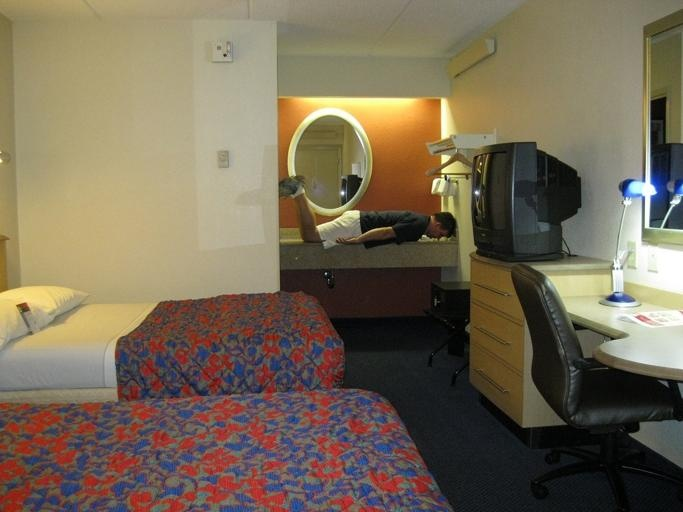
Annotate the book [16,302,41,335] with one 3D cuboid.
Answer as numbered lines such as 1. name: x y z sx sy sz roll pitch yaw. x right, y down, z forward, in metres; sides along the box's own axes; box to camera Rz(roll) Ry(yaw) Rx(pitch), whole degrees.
1. book: -1.803 0.364 3.116 0.042 0.168 0.123 -16 7 27

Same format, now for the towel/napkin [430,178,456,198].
1. towel/napkin: 1.042 -0.674 5.430 0.199 0.230 0.233 8 0 -38

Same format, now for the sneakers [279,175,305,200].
1. sneakers: -0.458 -0.634 4.964 0.213 0.210 0.162 6 -5 -11

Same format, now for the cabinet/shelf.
1. cabinet/shelf: 1.266 0.569 3.603 0.578 1.131 0.856 -2 6 -13

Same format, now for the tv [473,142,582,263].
1. tv: 1.292 -0.376 3.812 0.716 0.766 0.705 -2 7 -20

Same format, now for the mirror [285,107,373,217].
1. mirror: -0.168 -1.022 5.687 1.131 1.518 0.121 1 0 -9

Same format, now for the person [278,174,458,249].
1. person: 0.272 -0.517 5.328 1.596 0.708 0.755 -1 10 -2

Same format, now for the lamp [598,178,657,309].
1. lamp: 1.636 -0.073 3.076 0.226 0.726 0.290 -6 6 -40
